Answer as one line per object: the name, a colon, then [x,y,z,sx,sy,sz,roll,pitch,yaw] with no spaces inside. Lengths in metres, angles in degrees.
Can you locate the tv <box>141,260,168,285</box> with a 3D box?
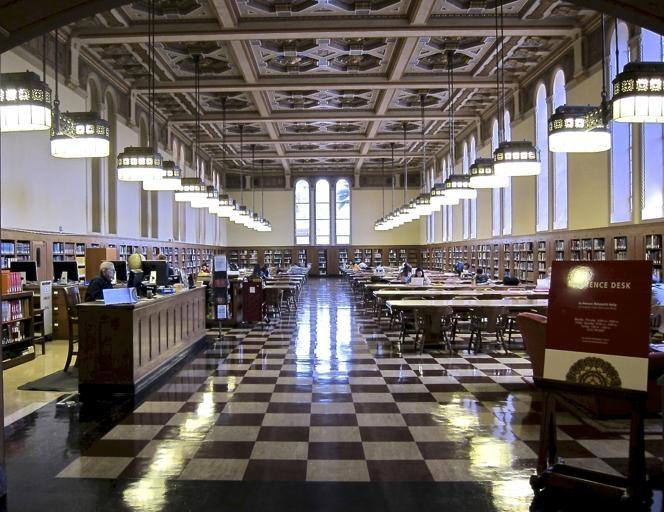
tv: [-2.800,0.274,9.484,0.437,0.360,0.336,0,9,1]

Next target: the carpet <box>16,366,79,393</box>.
carpet: [-3.706,1.666,7.875,0.701,0.087,1.086,-4,10,-23]

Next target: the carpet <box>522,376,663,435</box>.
carpet: [3.053,1.600,6.721,1.136,0.459,0.922,5,11,33]

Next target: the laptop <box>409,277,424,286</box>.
laptop: [1.796,0.564,12.749,0.219,0.157,0.152,1,-9,1]

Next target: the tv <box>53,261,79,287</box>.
tv: [-4.796,0.340,10.843,0.384,0.387,0.130,1,-6,-8]

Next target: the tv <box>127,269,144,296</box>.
tv: [-2.821,0.395,8.642,0.182,0.364,0.349,0,-2,6]

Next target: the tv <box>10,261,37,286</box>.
tv: [-4.972,0.297,9.664,0.340,0.348,0.128,1,9,-10]
